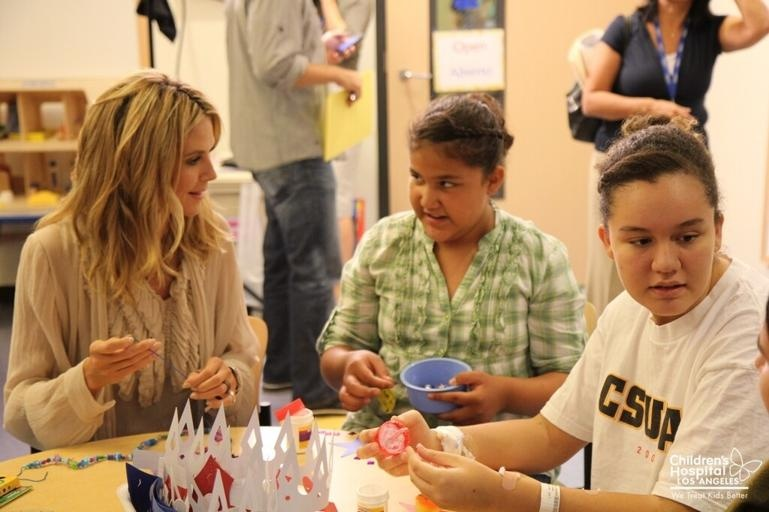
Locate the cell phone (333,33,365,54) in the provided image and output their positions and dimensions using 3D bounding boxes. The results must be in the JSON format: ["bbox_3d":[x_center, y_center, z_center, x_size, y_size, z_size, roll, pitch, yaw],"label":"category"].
[{"bbox_3d":[-0.185,-1.080,3.688,0.173,0.052,0.045,-36,0,-37],"label":"cell phone"}]

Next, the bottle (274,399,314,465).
[{"bbox_3d":[-0.288,0.570,2.387,0.124,0.182,0.167,1,2,-13],"label":"bottle"}]

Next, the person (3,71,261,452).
[{"bbox_3d":[-0.906,0.008,2.677,0.892,1.386,0.533,1,3,-10],"label":"person"}]

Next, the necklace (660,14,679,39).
[{"bbox_3d":[1.350,-1.091,3.451,0.082,0.115,0.041,1,7,14],"label":"necklace"}]

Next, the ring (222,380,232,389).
[{"bbox_3d":[-0.571,0.466,2.658,0.018,0.029,0.044,2,2,7],"label":"ring"}]
